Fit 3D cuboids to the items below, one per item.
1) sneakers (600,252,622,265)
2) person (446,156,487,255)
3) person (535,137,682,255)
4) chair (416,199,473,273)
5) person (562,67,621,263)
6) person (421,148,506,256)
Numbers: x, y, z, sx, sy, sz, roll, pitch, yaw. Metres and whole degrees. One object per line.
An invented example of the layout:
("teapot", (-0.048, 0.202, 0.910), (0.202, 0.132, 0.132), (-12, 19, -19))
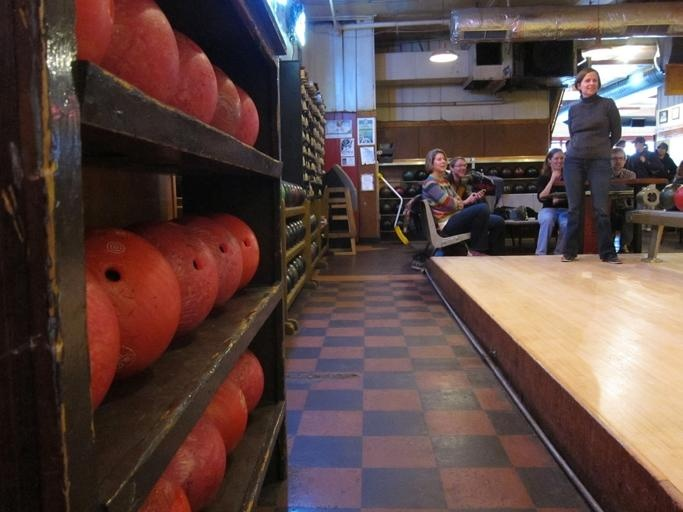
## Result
("sneakers", (2.160, 0.003, 4.042), (0.065, 0.086, 0.200), (0, -3, -7))
("person", (1.350, -0.576, 5.482), (0.391, 0.990, 1.516), (0, 7, 12))
("person", (2.694, -0.542, 5.288), (1.329, 0.909, 1.392), (3, 14, 20))
("chair", (1.104, -0.238, 5.154), (0.513, 0.611, 0.416), (-11, 1, 12))
("person", (2.011, -0.736, 4.058), (0.417, 1.550, 0.342), (2, 7, 28))
("person", (1.171, -0.520, 5.061), (0.614, 1.205, 0.429), (-9, 7, 22))
